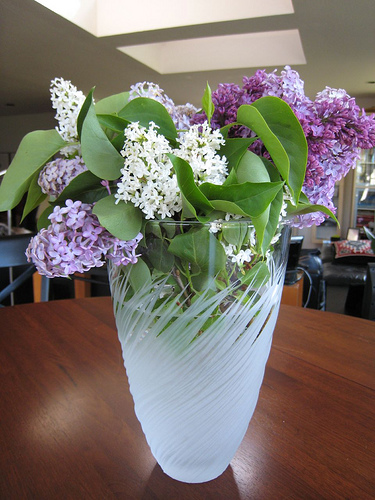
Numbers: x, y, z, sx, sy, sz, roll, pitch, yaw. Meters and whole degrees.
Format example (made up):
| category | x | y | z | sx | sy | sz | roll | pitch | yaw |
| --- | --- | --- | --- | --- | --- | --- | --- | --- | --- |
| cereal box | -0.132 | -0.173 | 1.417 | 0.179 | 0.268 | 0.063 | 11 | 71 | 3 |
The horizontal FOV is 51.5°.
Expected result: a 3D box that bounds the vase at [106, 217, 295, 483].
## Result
| category | x | y | z | sx | sy | sz | roll | pitch | yaw |
| --- | --- | --- | --- | --- | --- | --- | --- | --- | --- |
| vase | 0.004 | 0.098 | 0.412 | 0.186 | 0.255 | 0.177 | -1 | 13 | -4 |
